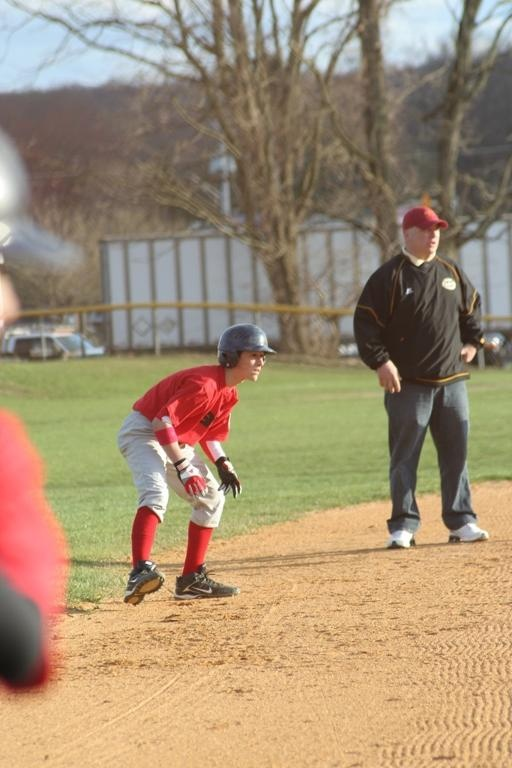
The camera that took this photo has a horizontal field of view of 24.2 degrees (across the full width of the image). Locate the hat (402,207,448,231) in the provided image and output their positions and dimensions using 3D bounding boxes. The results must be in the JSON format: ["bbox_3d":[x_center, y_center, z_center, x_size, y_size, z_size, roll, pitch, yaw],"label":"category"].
[{"bbox_3d":[0.846,-0.845,6.056,0.186,0.092,0.135,1,11,28],"label":"hat"}]

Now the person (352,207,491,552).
[{"bbox_3d":[0.899,-0.031,6.126,0.727,1.741,0.336,-7,7,-24],"label":"person"}]

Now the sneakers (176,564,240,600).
[{"bbox_3d":[-0.247,0.946,5.617,0.338,0.149,0.122,1,-1,-3],"label":"sneakers"}]

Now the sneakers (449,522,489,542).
[{"bbox_3d":[1.088,0.773,6.225,0.089,0.080,0.209,4,-10,-41],"label":"sneakers"}]

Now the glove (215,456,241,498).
[{"bbox_3d":[-0.132,0.456,5.709,0.135,0.194,0.060,6,26,29],"label":"glove"}]

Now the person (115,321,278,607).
[{"bbox_3d":[-0.264,0.378,5.391,0.724,1.269,0.775,-4,6,0],"label":"person"}]

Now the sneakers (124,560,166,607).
[{"bbox_3d":[-0.479,0.847,5.150,0.111,0.124,0.245,6,-47,-42],"label":"sneakers"}]

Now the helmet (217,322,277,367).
[{"bbox_3d":[-0.060,-0.178,5.337,0.234,0.170,0.177,1,4,28],"label":"helmet"}]
